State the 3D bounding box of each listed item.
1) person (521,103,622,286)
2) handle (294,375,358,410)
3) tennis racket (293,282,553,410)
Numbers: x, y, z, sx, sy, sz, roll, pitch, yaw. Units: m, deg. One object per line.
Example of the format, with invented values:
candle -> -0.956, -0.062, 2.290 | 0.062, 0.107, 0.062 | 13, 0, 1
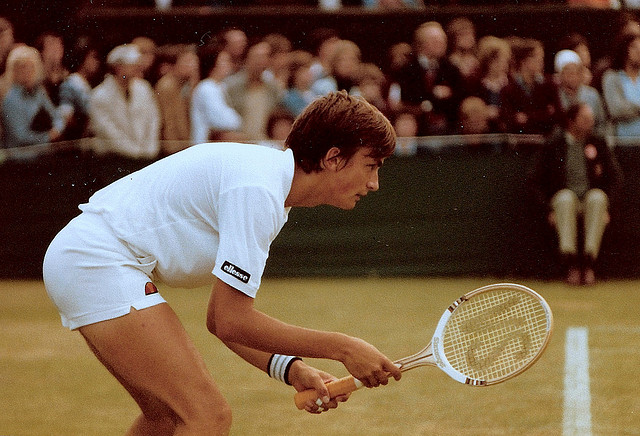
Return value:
person -> 1.834, -0.085, 7.221 | 0.644, 1.320, 0.428 | 4, -4, 5
handle -> -0.016, 0.906, 5.302 | 0.443, 0.133, 0.125 | -17, 42, 11
tennis racket -> 0.634, 0.781, 5.529 | 1.517, 0.636, 0.121 | -19, -24, 1
